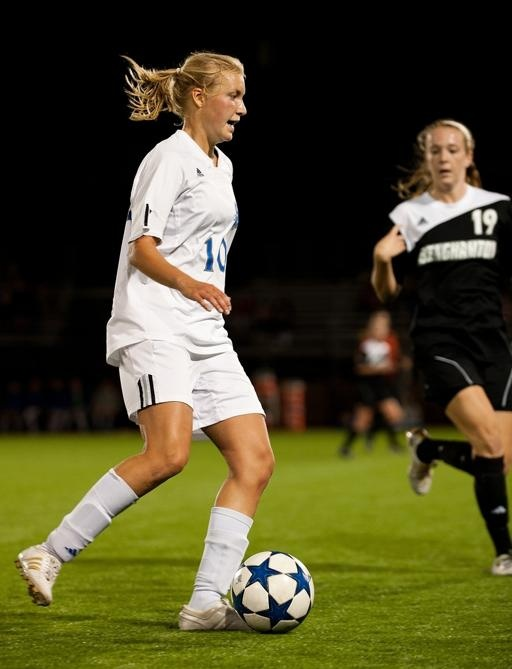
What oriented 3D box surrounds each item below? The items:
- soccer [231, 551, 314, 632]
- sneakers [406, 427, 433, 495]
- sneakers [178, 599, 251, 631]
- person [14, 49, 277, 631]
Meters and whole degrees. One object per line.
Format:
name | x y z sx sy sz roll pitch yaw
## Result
soccer | 0.055 0.855 2.770 0.293 0.219 0.241 2 -16 -3
sneakers | 0.849 0.660 4.374 0.161 0.355 0.163 0 32 12
sneakers | -0.152 0.954 2.853 0.294 0.095 0.086 1 0 -5
person | -0.338 -0.023 2.932 0.710 2.024 0.966 0 7 23
